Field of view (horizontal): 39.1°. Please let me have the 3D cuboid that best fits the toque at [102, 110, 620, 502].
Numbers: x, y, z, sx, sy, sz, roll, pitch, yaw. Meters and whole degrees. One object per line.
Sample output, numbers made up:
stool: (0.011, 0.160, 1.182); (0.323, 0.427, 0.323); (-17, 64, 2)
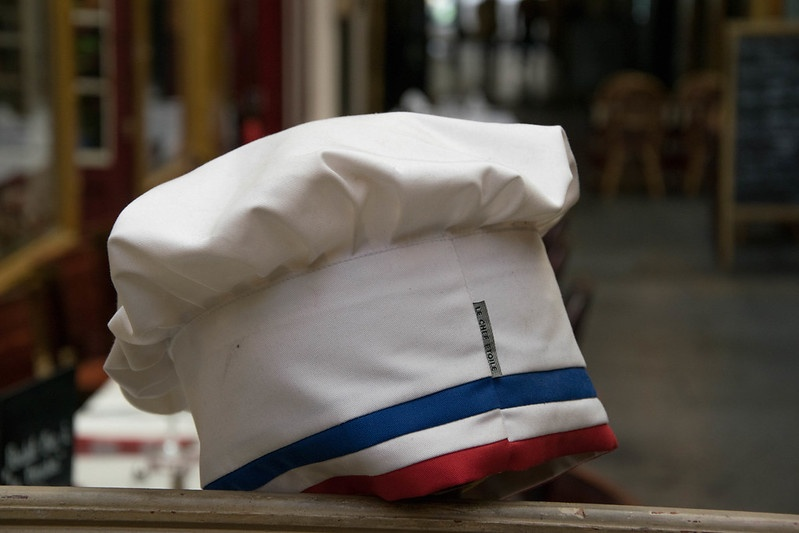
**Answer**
toque: (-0.066, 0.087, 2.227); (0.763, 0.560, 0.717); (-5, -11, 6)
